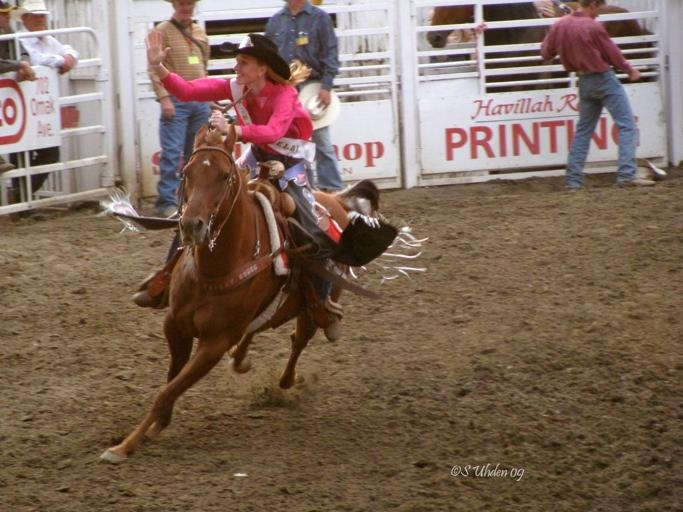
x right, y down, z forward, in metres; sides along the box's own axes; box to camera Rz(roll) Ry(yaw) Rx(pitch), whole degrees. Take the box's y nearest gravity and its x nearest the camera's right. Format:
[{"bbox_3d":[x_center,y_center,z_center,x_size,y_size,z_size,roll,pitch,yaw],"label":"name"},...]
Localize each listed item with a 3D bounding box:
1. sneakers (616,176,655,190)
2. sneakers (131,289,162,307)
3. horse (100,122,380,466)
[{"bbox_3d":[3.395,-0.846,9.784,0.507,0.113,0.129,-1,10,5],"label":"sneakers"},{"bbox_3d":[-1.327,0.295,5.778,0.180,0.076,0.159,1,-1,8],"label":"sneakers"},{"bbox_3d":[-0.845,0.209,5.501,0.788,2.064,1.315,0,9,21],"label":"horse"}]
